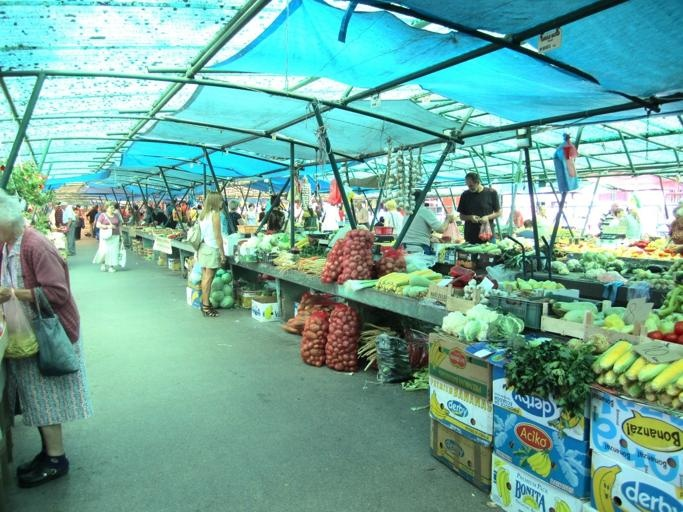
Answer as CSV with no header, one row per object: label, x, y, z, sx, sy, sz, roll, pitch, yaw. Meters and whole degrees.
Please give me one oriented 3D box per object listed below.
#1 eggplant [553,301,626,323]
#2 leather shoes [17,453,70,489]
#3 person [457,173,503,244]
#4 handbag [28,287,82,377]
eggplant,1.959,0.444,4.300,0.265,0.093,0.243,-1,4,-19
leather shoes,-2.379,1.715,4.274,0.354,0.130,0.200,3,0,-30
person,2.040,-0.430,7.965,0.736,1.488,0.517,2,8,7
handbag,-2.253,0.588,4.141,0.257,0.698,0.183,-11,16,-27
